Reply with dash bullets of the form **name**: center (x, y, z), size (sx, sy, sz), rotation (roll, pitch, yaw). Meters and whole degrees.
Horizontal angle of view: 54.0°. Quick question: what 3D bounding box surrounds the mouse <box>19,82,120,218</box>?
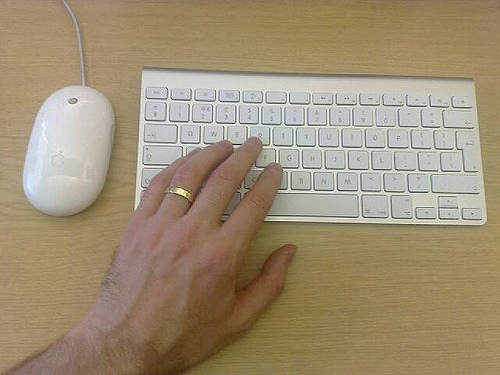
- **mouse**: center (-0.335, -0.048, 0.928), size (0.159, 0.060, 0.256), rotation (10, 86, 10)

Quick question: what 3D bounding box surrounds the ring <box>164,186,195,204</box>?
- **ring**: center (-0.122, 0.009, 0.865), size (0.034, 0.035, 0.009), rotation (8, 56, 29)
